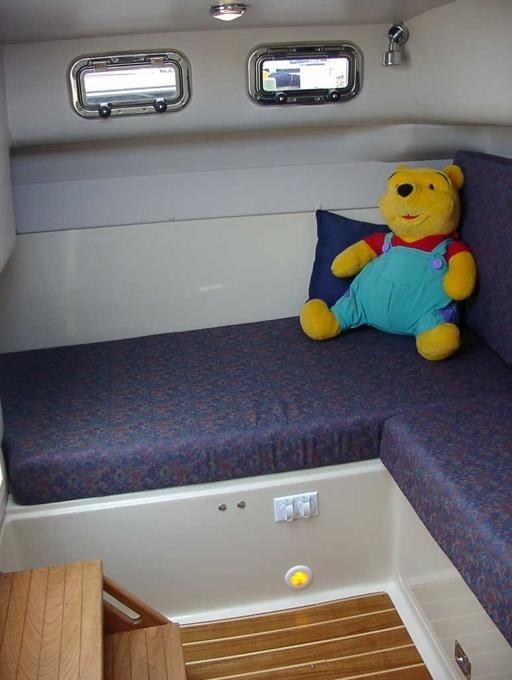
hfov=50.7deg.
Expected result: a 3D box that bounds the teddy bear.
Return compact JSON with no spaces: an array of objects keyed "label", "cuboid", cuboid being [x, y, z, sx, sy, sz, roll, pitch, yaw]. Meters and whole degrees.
[{"label":"teddy bear","cuboid":[0.475,-0.287,1.790,0.536,0.547,0.465,11,28,34]}]

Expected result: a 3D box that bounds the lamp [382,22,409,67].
[{"label":"lamp","cuboid":[0.486,-1.028,1.870,0.090,0.130,0.097,-3,10,16]}]
